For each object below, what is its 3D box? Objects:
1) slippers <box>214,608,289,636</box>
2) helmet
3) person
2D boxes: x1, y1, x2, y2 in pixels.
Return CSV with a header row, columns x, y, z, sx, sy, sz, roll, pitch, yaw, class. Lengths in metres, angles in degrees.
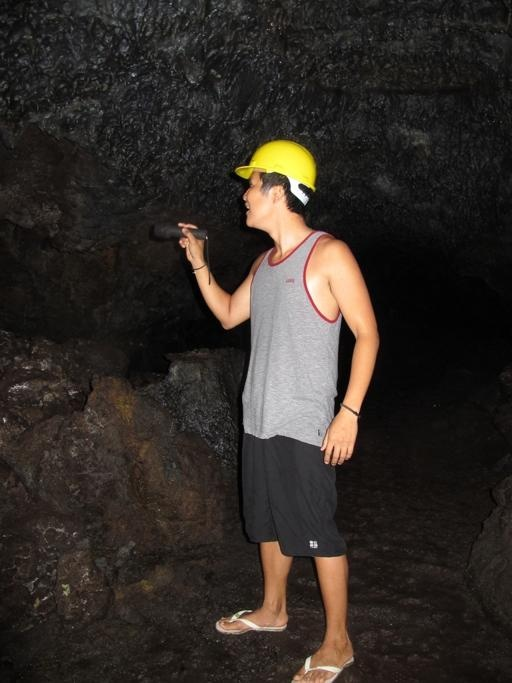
x,y,z,sx,sy,sz,roll,pitch,yaw,class
-0.024,1.361,3.340,0.347,0.074,0.121,1,-2,-3,slippers
0.128,-0.824,3.252,0.384,0.188,0.282,23,8,-13,helmet
0.164,0.273,3.093,0.588,2.369,0.748,-7,13,-31,person
